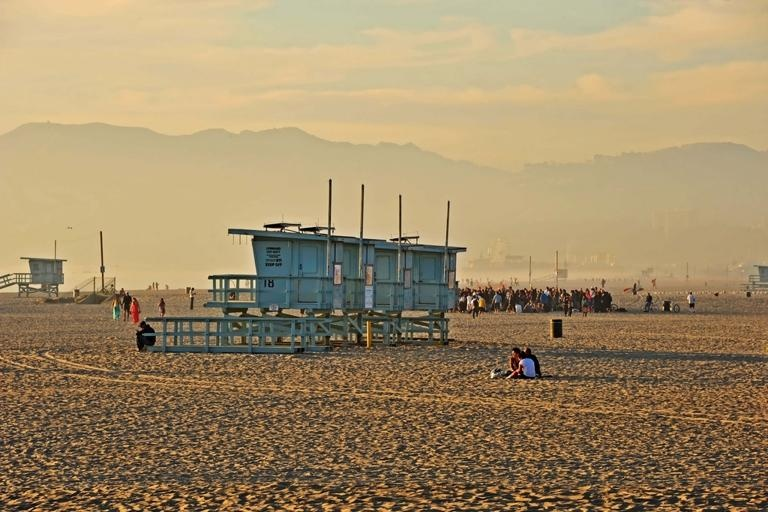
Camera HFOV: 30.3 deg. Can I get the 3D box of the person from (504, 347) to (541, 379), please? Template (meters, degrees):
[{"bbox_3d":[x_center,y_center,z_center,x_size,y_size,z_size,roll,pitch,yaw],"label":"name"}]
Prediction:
[{"bbox_3d":[4.705,3.731,49.382,1.140,1.043,0.909,3,-6,-39],"label":"person"}]

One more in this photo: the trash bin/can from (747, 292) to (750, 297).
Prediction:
[{"bbox_3d":[45.627,4.869,179.576,0.511,0.815,0.491,0,-3,25],"label":"trash bin/can"}]

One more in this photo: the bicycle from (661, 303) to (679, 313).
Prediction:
[{"bbox_3d":[20.584,3.819,103.528,1.168,0.452,1.503,1,-2,-5],"label":"bicycle"}]

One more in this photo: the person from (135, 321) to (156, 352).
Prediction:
[{"bbox_3d":[-9.695,3.268,57.993,0.720,1.233,1.575,0,-4,-9],"label":"person"}]

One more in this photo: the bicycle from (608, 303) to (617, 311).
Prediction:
[{"bbox_3d":[16.510,3.754,103.860,0.686,0.591,0.237,1,-10,18],"label":"bicycle"}]
